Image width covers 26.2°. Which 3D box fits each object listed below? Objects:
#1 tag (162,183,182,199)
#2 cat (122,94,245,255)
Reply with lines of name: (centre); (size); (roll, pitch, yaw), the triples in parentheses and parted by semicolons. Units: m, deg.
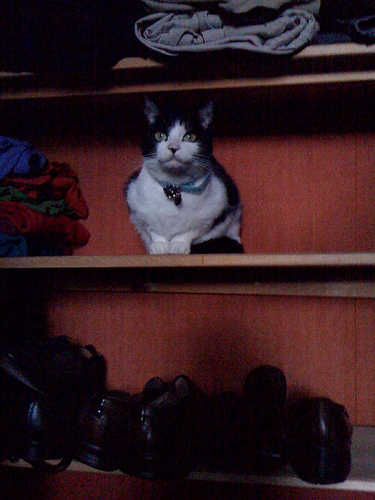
tag: (-0.026, -0.104, 1.440); (0.036, 0.027, 0.019); (0, 0, 2)
cat: (-0.003, -0.124, 1.569); (0.172, 0.320, 0.274); (-1, -11, 1)
